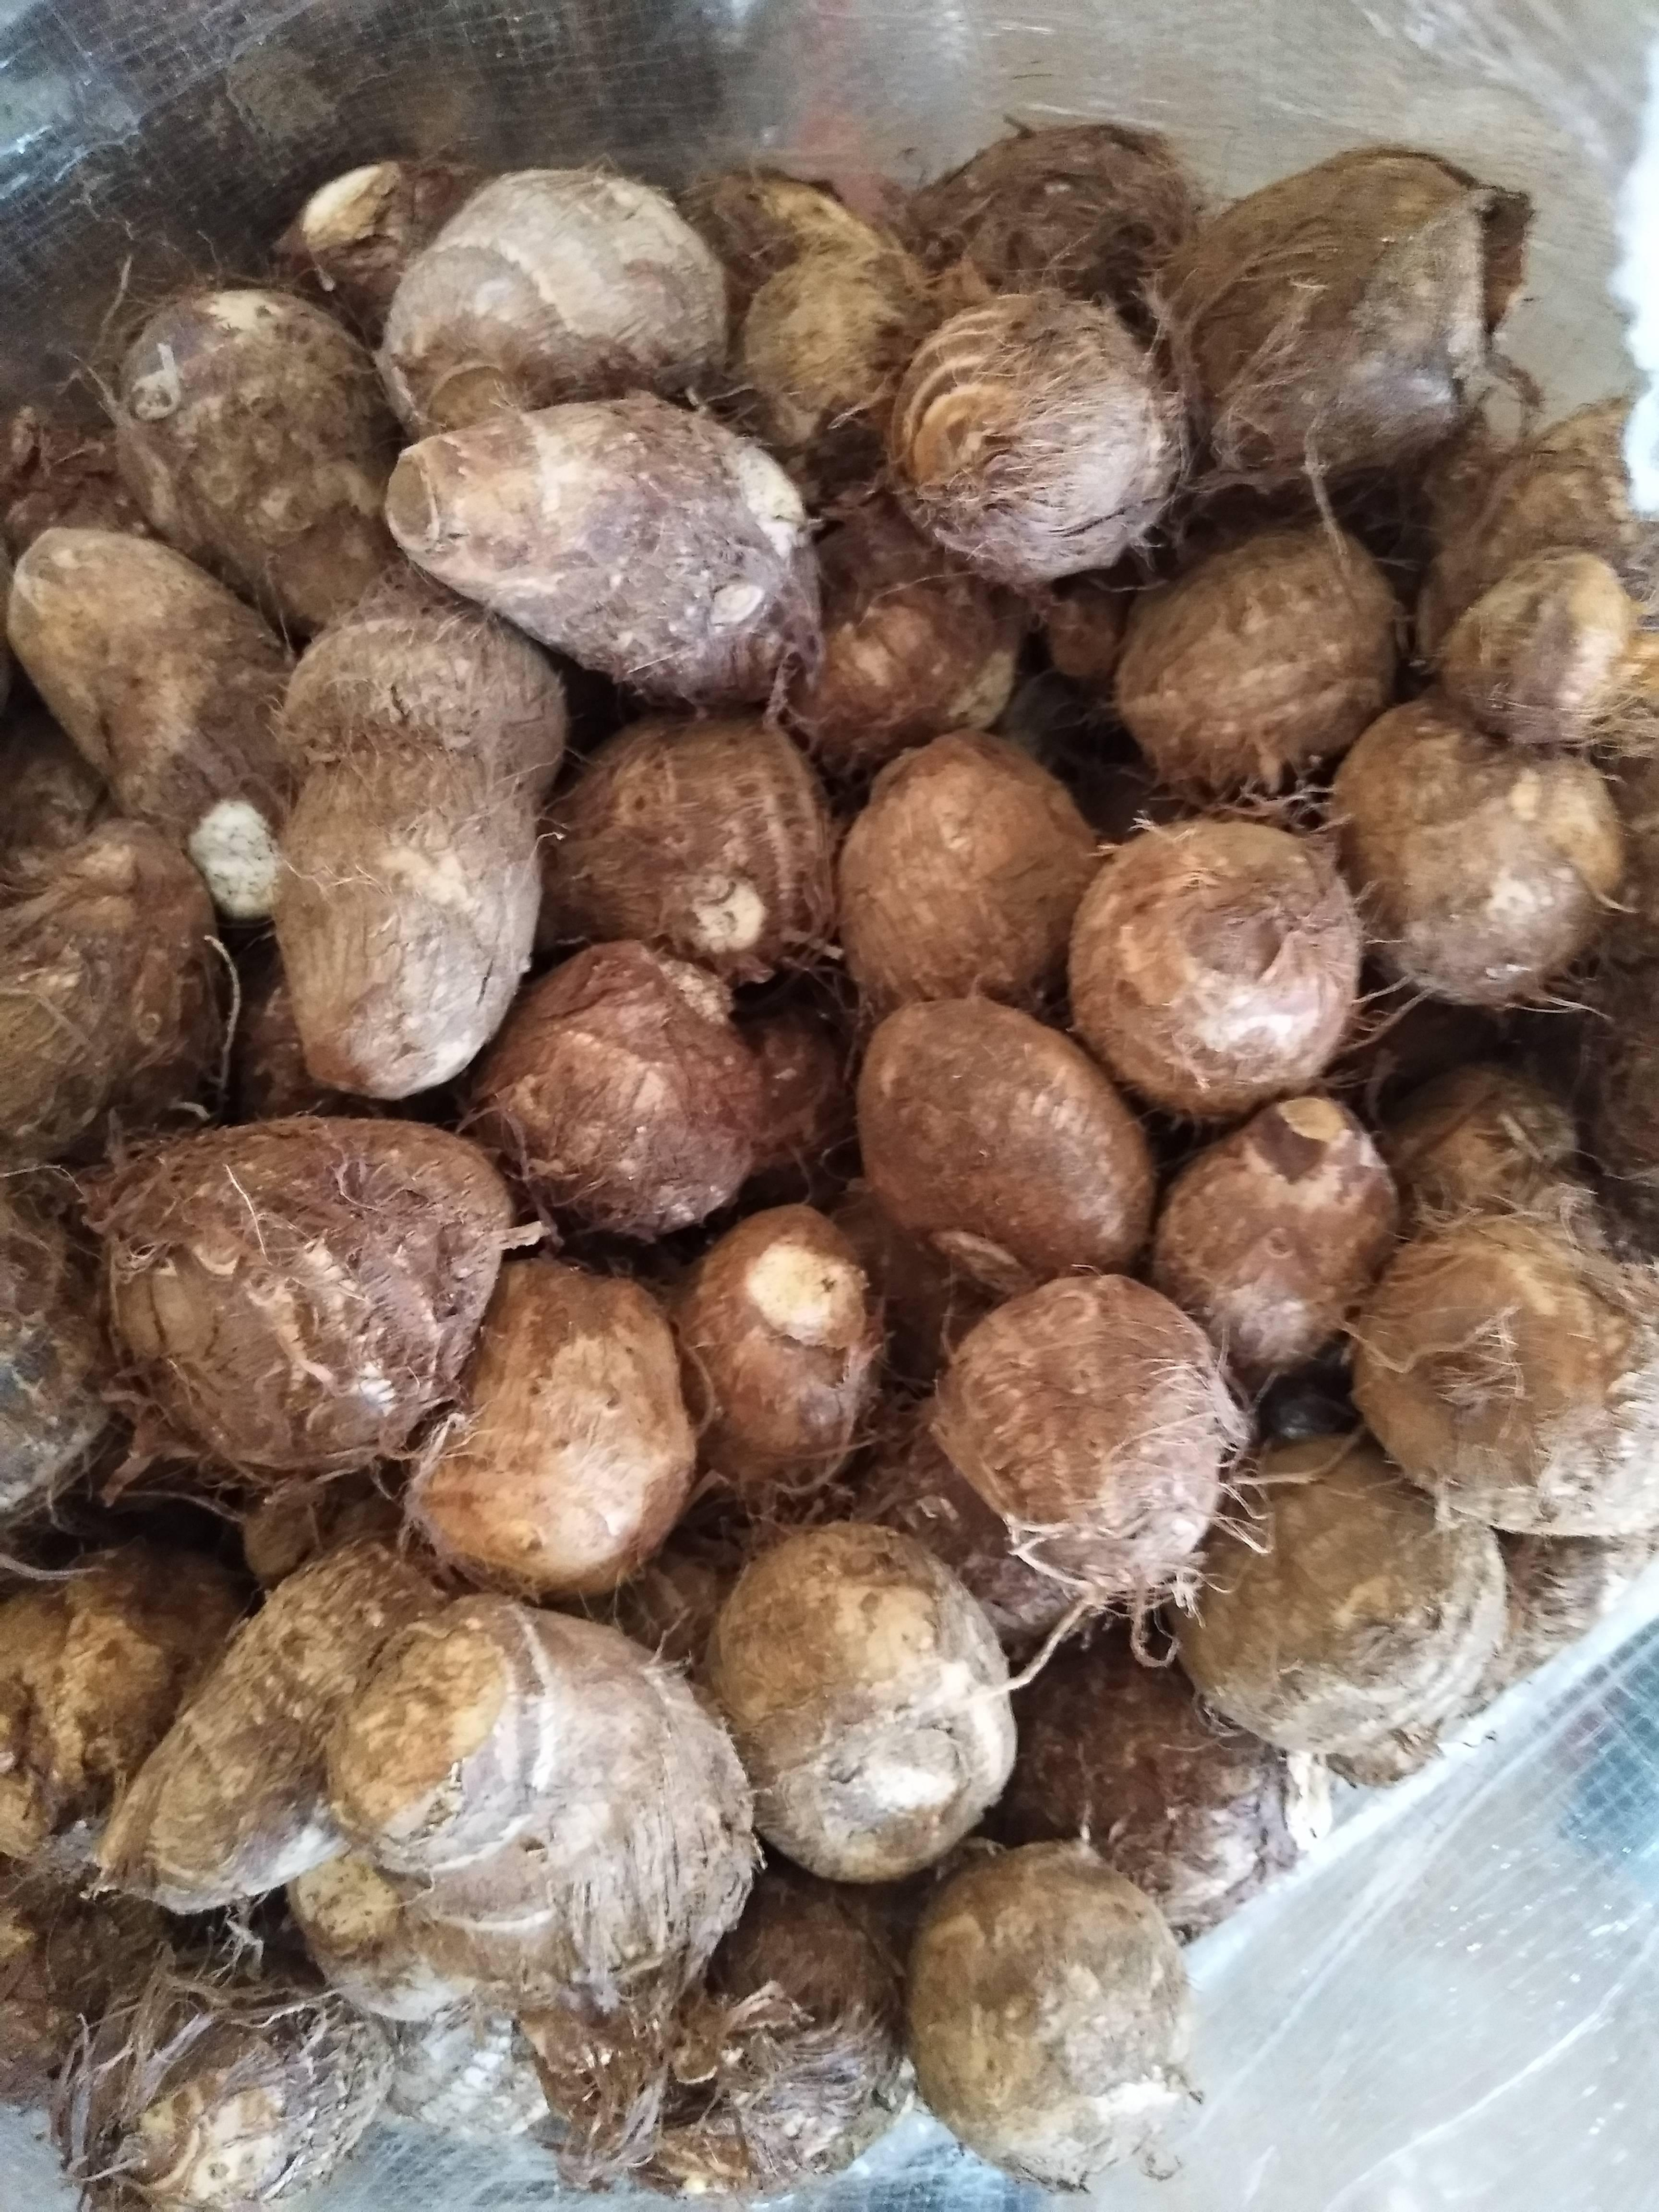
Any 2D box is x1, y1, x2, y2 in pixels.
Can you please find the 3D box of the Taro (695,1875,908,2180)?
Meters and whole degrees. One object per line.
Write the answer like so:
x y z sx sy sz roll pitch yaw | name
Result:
0.000 0.391 0.910 0.108 0.075 0.126 -9 86 8 | Taro

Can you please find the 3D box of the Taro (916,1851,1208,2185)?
0.085 0.377 0.899 0.126 0.075 0.133 -28 83 -5 | Taro
